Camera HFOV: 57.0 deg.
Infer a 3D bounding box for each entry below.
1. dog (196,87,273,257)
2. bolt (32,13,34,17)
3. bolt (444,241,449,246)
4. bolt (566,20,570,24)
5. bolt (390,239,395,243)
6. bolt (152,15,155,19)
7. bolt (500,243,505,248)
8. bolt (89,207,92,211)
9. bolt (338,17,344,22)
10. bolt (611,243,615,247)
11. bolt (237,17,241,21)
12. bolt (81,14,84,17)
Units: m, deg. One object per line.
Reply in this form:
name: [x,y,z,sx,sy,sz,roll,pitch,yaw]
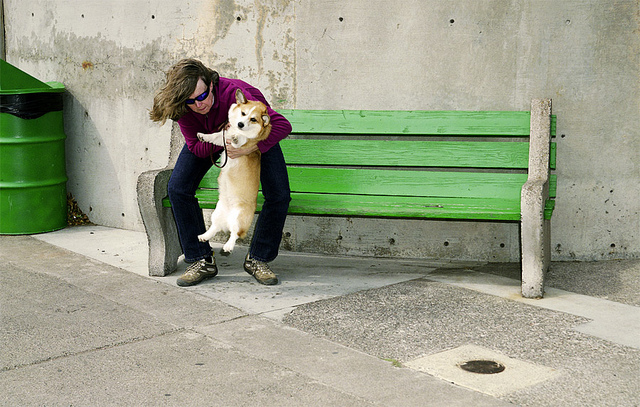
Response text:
dog: [-0.700,-0.277,4.701,0.638,1.262,0.469,1,7,7]
bolt: [-3.350,-2.185,6.865,0.033,0.046,0.013,1,-3,8]
bolt: [1.192,0.379,5.580,0.077,0.041,0.032,1,2,17]
bolt: [2.176,-1.587,5.189,0.048,0.029,0.020,0,9,29]
bolt: [0.692,0.362,5.678,0.063,0.033,0.025,2,-3,17]
bolt: [-1.742,-1.931,6.150,0.024,0.039,0.002,3,8,25]
bolt: [1.689,0.388,5.474,0.061,0.031,0.024,0,-4,10]
bolt: [-2.686,0.071,6.888,0.035,0.040,0.033,3,-15,12]
bolt: [0.192,-1.712,5.509,0.067,0.037,0.037,1,8,0]
bolt: [2.681,0.387,5.402,0.039,0.021,0.016,-2,-11,27]
bolt: [-0.803,-1.802,5.787,0.049,0.025,0.059,-1,1,-4]
bolt: [-2.625,-2.055,6.506,0.038,0.027,0.008,2,7,15]
